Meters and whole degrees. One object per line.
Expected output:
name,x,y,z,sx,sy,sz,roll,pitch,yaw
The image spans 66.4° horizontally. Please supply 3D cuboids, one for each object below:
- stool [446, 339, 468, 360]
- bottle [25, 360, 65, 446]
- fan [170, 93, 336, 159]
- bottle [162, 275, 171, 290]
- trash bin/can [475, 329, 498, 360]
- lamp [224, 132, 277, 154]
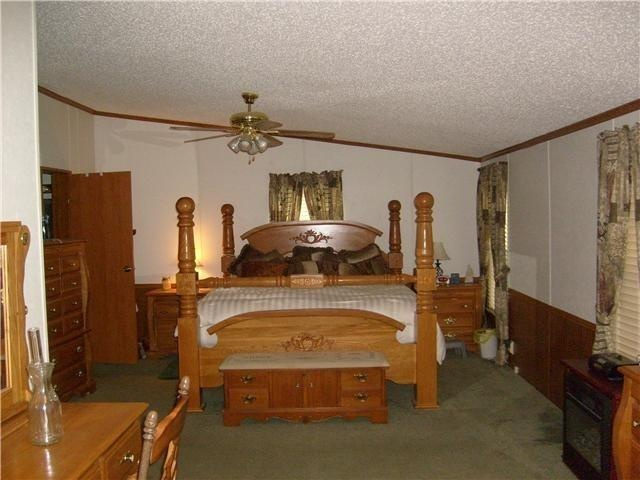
stool,1.781,1.452,6.432,0.249,0.159,0.232,-1,-3,-8
bottle,-1.303,0.775,2.309,0.130,0.376,0.111,-5,8,-31
fan,-0.695,-1.006,4.758,1.219,0.568,1.289,-3,-3,35
bottle,-2.090,0.597,6.665,0.124,0.154,0.172,5,6,40
trash bin/can,2.085,1.351,6.341,0.372,0.364,0.360,0,-3,11
lamp,-0.647,-0.907,4.699,0.352,0.160,0.309,-3,-11,0
